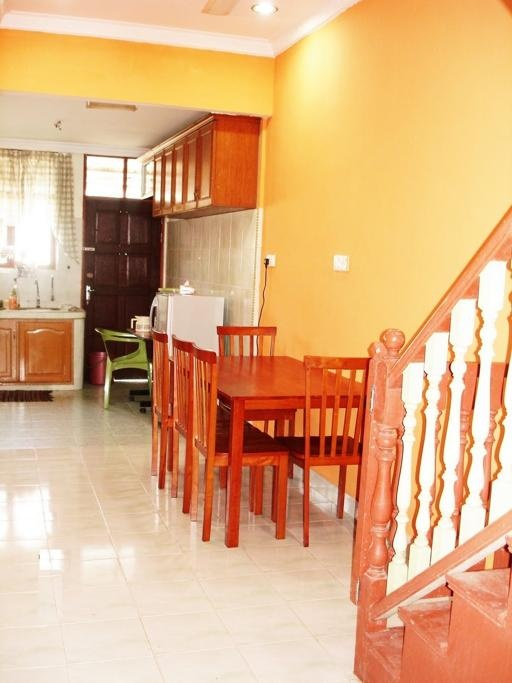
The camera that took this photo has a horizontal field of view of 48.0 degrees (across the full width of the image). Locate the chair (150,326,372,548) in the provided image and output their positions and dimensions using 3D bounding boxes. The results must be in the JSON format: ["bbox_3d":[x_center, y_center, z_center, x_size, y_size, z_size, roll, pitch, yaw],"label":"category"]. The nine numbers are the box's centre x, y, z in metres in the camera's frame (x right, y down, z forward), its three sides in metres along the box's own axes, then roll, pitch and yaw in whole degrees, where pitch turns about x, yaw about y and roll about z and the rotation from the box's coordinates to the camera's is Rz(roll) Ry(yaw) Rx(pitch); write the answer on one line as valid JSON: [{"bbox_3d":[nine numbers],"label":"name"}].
[{"bbox_3d":[-0.080,0.486,3.261,0.804,0.986,1.459,2,3,-27],"label":"chair"}]

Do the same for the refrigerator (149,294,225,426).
[{"bbox_3d":[-0.663,-0.138,5.312,0.626,0.963,0.523,3,-1,-10],"label":"refrigerator"}]

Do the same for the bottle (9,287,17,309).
[{"bbox_3d":[-2.844,-0.501,6.800,0.103,0.218,0.320,3,3,-23],"label":"bottle"}]

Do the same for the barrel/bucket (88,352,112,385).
[{"bbox_3d":[-1.950,0.309,7.347,0.348,0.405,0.379,7,4,-1],"label":"barrel/bucket"}]
